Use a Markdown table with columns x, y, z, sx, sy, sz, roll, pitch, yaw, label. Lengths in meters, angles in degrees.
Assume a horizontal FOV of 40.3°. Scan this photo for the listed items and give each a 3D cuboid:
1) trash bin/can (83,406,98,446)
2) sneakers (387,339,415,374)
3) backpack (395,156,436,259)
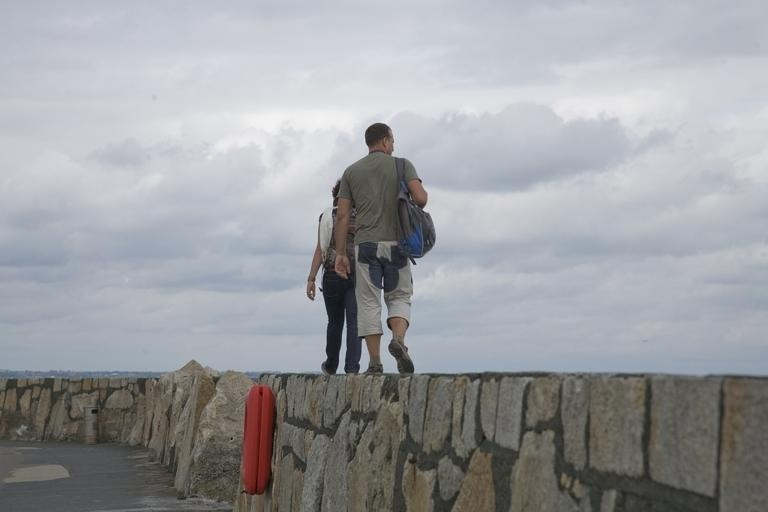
| x | y | z | sx | sy | sz | roll | pitch | yaw | label |
| --- | --- | --- | --- | --- | --- | --- | --- | --- | --- |
| -4.174 | 2.454 | 15.170 | 0.220 | 0.354 | 0.348 | -7 | -4 | -15 | trash bin/can |
| 0.136 | 0.718 | 7.572 | 0.141 | 0.206 | 0.075 | -9 | -4 | 9 | sneakers |
| 0.224 | -0.369 | 7.921 | 0.259 | 0.665 | 0.173 | -9 | -4 | 20 | backpack |
